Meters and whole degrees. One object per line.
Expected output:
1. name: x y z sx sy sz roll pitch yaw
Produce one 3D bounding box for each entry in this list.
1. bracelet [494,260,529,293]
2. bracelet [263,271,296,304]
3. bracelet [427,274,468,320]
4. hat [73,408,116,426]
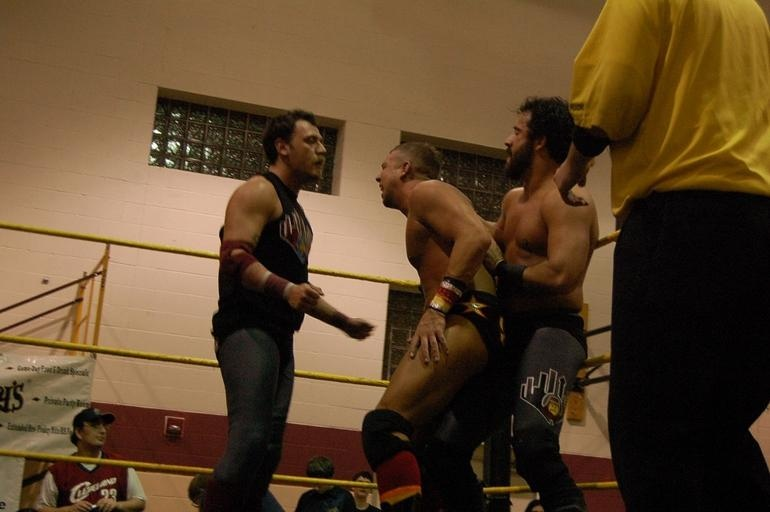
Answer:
1. bracelet: 0.552 0.105 3.135 0.057 0.108 0.143 -29 11 -13
2. bracelet: -0.472 0.148 3.217 0.127 0.124 0.123 19 41 -20
3. bracelet: 0.258 0.184 2.966 0.136 0.178 0.066 47 -16 17
4. hat: -2.291 1.244 5.504 0.288 0.149 0.204 -18 -17 7
